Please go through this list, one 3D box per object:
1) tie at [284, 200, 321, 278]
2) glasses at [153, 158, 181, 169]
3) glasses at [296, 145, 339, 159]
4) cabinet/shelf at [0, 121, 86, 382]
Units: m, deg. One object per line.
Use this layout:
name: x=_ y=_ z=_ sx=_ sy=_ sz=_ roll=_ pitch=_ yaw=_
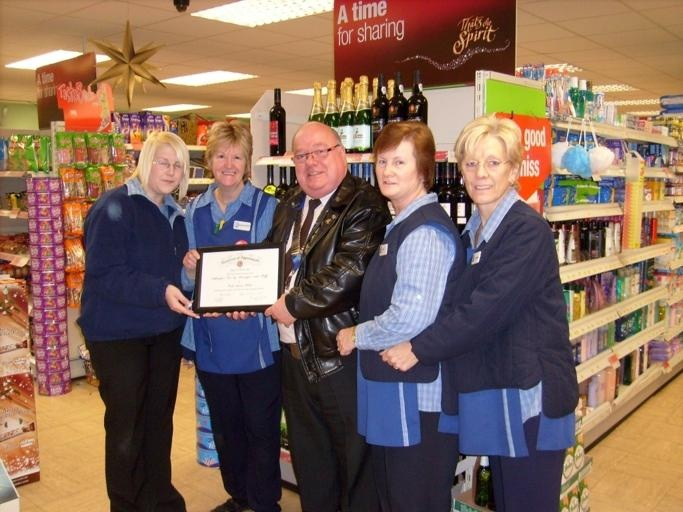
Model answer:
tie: x=-0.233 y=-0.103 z=3.117 sx=0.085 sy=0.425 sz=0.244 roll=20 pitch=-5 yaw=-24
glasses: x=-1.015 y=-0.541 z=3.182 sx=0.163 sy=0.051 sz=0.051 roll=-4 pitch=7 yaw=-37
glasses: x=-0.129 y=-0.582 z=3.006 sx=0.260 sy=0.097 sz=0.086 roll=-1 pitch=6 yaw=-5
cabinet/shelf: x=-3.565 y=-0.075 z=6.318 sx=0.896 sy=3.061 sz=2.308 roll=-3 pitch=7 yaw=-27
